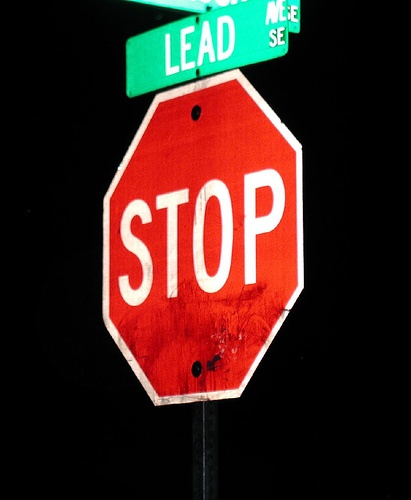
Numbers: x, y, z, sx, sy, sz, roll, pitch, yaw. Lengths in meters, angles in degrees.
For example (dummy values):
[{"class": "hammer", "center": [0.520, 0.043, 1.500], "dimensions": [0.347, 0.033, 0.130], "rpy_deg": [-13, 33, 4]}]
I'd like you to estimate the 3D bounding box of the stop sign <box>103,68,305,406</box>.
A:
[{"class": "stop sign", "center": [-0.012, -0.023, 1.966], "dimensions": [0.378, 0.022, 0.730], "rpy_deg": [-9, 56, 10]}]
